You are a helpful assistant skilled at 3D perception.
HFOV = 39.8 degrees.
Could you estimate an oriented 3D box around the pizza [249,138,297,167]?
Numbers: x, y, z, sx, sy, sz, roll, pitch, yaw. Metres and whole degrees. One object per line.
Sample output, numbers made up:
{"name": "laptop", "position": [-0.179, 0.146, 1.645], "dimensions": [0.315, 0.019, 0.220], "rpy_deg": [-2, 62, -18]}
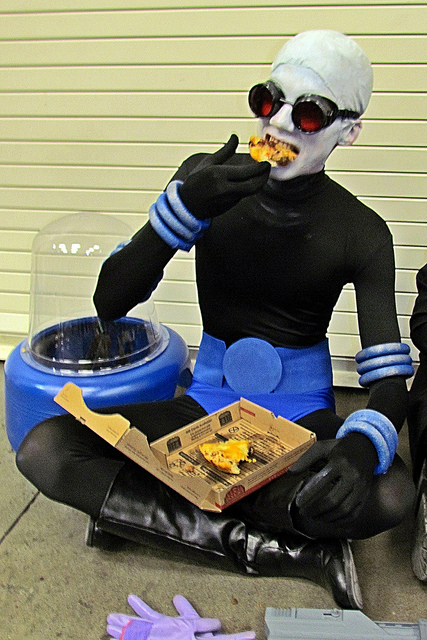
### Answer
{"name": "pizza", "position": [0.169, -0.478, 1.674], "dimensions": [0.109, 0.043, 0.084], "rpy_deg": [-8, 30, -44]}

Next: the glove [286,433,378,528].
{"name": "glove", "position": [0.303, 0.442, 1.495], "dimensions": [0.208, 0.266, 0.195], "rpy_deg": [0, 16, 14]}

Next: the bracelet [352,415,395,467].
{"name": "bracelet", "position": [0.432, 0.309, 1.541], "dimensions": [0.037, 0.126, 0.120], "rpy_deg": [-21, 63, -23]}

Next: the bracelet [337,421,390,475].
{"name": "bracelet", "position": [0.403, 0.317, 1.515], "dimensions": [0.045, 0.136, 0.136], "rpy_deg": [-24, 31, -21]}

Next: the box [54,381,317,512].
{"name": "box", "position": [-0.061, 0.431, 1.648], "dimensions": [0.680, 0.221, 0.388], "rpy_deg": [-19, 35, -42]}

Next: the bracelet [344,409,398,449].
{"name": "bracelet", "position": [0.415, 0.278, 1.556], "dimensions": [0.113, 0.112, 0.032], "rpy_deg": [36, 20, 14]}

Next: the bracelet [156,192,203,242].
{"name": "bracelet", "position": [-0.107, -0.268, 1.611], "dimensions": [0.130, 0.045, 0.128], "rpy_deg": [39, 2, -25]}

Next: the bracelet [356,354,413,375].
{"name": "bracelet", "position": [0.498, 0.135, 1.733], "dimensions": [0.150, 0.088, 0.094], "rpy_deg": [0, 15, 12]}

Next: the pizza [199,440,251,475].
{"name": "pizza", "position": [0.039, 0.395, 1.741], "dimensions": [0.100, 0.027, 0.096], "rpy_deg": [-13, 17, -33]}

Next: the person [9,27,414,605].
{"name": "person", "position": [0.204, -0.069, 2.024], "dimensions": [1.008, 1.601, 1.431], "rpy_deg": [5, 17, 29]}
